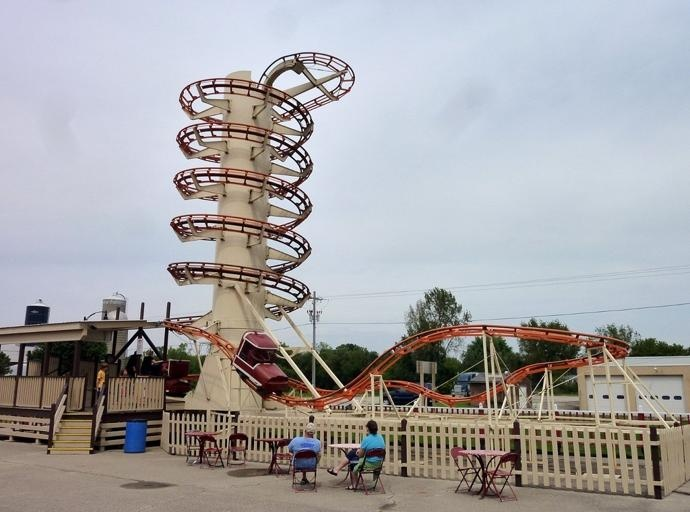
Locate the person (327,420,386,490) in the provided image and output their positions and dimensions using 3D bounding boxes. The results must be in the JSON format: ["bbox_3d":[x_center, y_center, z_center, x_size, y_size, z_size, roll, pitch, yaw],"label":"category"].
[{"bbox_3d":[0.432,5.541,19.921,1.357,1.766,1.199,1,-14,-2],"label":"person"}]

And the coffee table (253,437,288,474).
[{"bbox_3d":[-2.264,6.315,22.498,1.594,0.872,1.373,-1,-16,8],"label":"coffee table"}]

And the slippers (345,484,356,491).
[{"bbox_3d":[0.194,6.539,19.916,0.206,0.113,0.356,-1,-11,8],"label":"slippers"}]

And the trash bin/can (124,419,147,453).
[{"bbox_3d":[-7.828,6.720,26.265,0.748,1.194,0.680,5,-15,-17],"label":"trash bin/can"}]

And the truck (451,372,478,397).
[{"bbox_3d":[10.148,10.698,59.535,1.416,2.133,8.292,-2,-12,8],"label":"truck"}]

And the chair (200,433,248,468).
[{"bbox_3d":[-4.130,6.477,24.002,1.363,1.761,1.757,1,-6,0],"label":"chair"}]

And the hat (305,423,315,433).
[{"bbox_3d":[-1.093,5.482,22.454,0.305,0.270,0.342,2,-1,10],"label":"hat"}]
